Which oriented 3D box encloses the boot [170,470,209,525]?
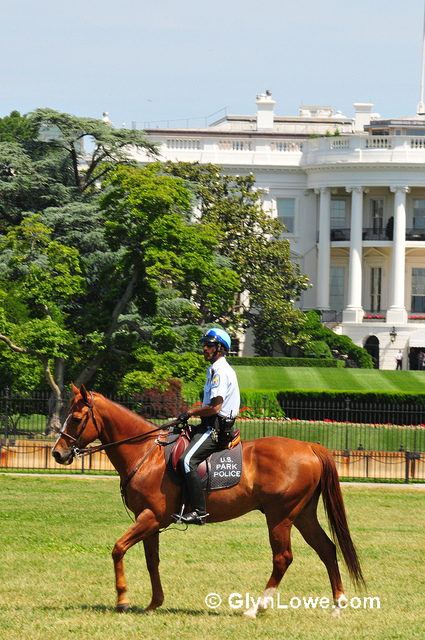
[{"bbox_3d":[-0.164,1.600,9.472,0.291,0.510,0.153,3,-2,-23],"label":"boot"}]

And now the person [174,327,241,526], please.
[{"bbox_3d":[-0.040,0.981,9.552,0.477,1.812,0.488,2,-2,15],"label":"person"}]

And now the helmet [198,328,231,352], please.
[{"bbox_3d":[0.039,0.182,9.671,0.269,0.145,0.184,20,-8,-22],"label":"helmet"}]
